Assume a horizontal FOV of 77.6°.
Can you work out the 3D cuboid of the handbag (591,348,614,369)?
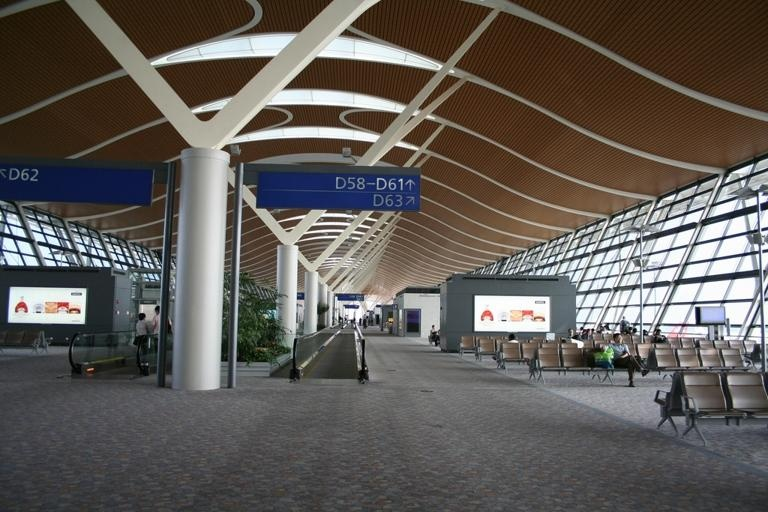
[{"bbox_3d":[7.139,3.334,15.648,0.803,0.591,0.534,-5,-11,24],"label":"handbag"}]

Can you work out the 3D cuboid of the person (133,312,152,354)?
[{"bbox_3d":[-8.046,2.497,15.886,0.465,1.209,2.744,7,-10,-26],"label":"person"}]
